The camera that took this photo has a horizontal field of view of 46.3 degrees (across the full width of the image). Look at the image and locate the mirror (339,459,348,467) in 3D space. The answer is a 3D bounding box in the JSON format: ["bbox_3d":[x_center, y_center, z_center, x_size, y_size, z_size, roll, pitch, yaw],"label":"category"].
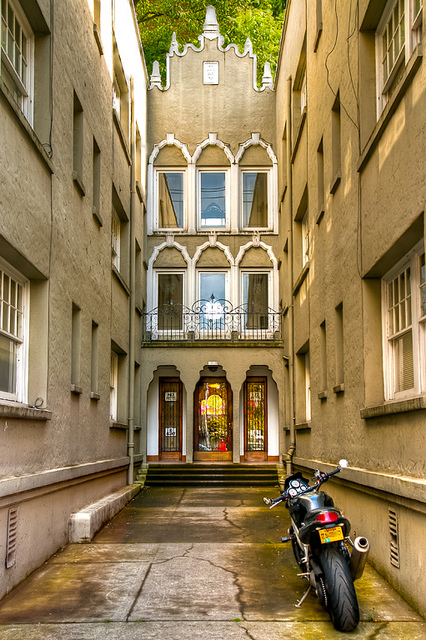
[{"bbox_3d":[0.934,1.026,3.561,0.059,0.055,0.077,-2,-2,-13],"label":"mirror"}]

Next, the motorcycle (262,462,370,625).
[{"bbox_3d":[0.780,1.525,3.535,0.332,0.899,1.344,-5,-9,-3],"label":"motorcycle"}]
